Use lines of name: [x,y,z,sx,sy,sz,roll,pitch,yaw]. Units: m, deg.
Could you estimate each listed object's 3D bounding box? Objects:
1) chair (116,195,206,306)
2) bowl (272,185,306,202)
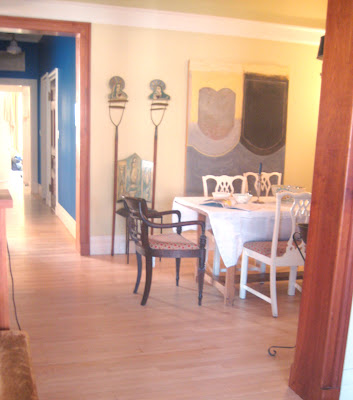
chair: [-0.170,0.275,3.374,0.745,1.246,0.822,-2,8,-13]
bowl: [0.989,-0.094,3.442,0.250,0.138,0.250,0,8,0]
